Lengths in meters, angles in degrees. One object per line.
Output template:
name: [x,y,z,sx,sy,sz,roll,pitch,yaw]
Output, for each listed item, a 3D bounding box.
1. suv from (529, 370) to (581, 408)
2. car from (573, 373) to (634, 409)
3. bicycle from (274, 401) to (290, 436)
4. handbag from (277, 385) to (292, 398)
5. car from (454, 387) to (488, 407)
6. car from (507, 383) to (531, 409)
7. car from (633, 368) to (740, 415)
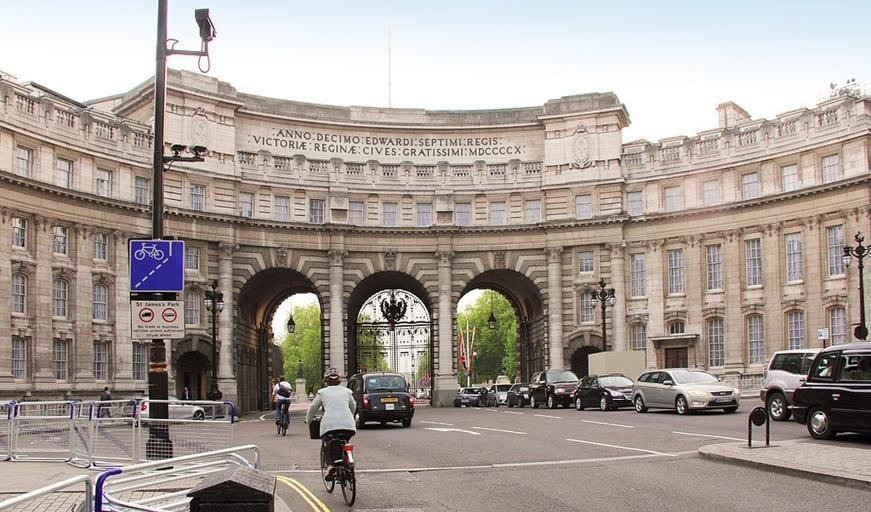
suv: [7.447,8.358,70.388,1.928,1.348,3.249,1,-10,-17]
car: [9.872,7.919,65.208,1.714,2.154,3.676,8,-13,-35]
bicycle: [-7.730,8.184,56.895,0.550,1.753,0.715,1,-11,-8]
handbag: [-7.615,6.944,57.284,0.744,0.564,0.528,7,-13,-33]
car: [2.671,10.496,84.018,1.871,1.446,2.838,-3,-11,13]
car: [5.602,9.467,76.625,1.335,1.898,5.596,-1,-11,2]
car: [13.194,7.246,60.045,2.247,2.536,4.998,9,-14,-39]
